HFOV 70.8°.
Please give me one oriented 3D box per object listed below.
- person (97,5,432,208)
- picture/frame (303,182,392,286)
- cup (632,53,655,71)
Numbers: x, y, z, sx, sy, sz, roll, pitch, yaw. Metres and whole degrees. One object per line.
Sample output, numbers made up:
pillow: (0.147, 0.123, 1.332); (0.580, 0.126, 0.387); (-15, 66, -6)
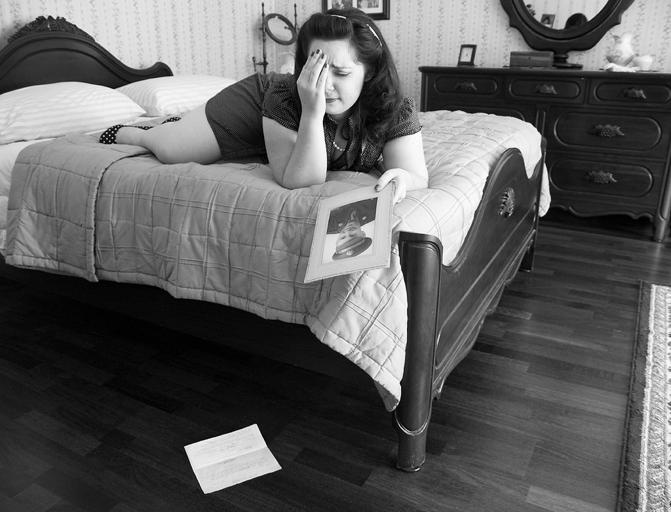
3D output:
person: (-0.253, -0.574, 1.846); (1.268, 0.578, 0.640); (17, 33, 25)
picture/frame: (0.035, -0.052, 1.288); (0.277, 0.016, 0.331); (-16, 42, 20)
cup: (2.115, -1.303, 3.245); (0.136, 0.124, 0.141); (-17, 25, 8)
